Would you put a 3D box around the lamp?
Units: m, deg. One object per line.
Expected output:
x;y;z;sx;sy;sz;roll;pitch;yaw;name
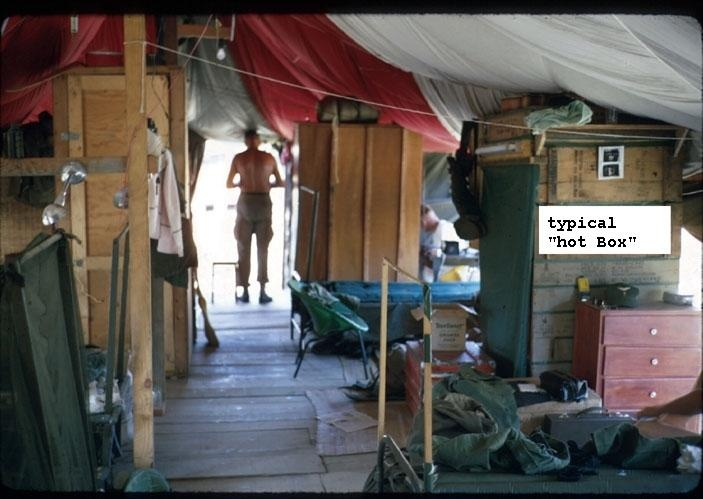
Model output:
-1.817;-0.356;5.254;0.245;0.402;0.582;-1;1;-16;lamp

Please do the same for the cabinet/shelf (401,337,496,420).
0.755;1.015;6.394;0.674;0.424;0.884;-1;1;3;cabinet/shelf

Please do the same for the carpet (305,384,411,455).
0.057;1.329;6.435;0.791;0.350;1.038;-1;1;-5;carpet

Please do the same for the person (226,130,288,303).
-1.126;-0.391;9.659;0.632;1.775;0.629;-1;1;-10;person

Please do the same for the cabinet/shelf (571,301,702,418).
2.047;0.653;6.267;1.095;1.122;0.685;0;2;1;cabinet/shelf

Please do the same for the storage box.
0.650;0.591;6.523;0.511;0.375;0.508;14;-10;3;storage box

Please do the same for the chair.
-0.191;0.681;7.304;0.657;0.802;0.830;-3;6;-9;chair
